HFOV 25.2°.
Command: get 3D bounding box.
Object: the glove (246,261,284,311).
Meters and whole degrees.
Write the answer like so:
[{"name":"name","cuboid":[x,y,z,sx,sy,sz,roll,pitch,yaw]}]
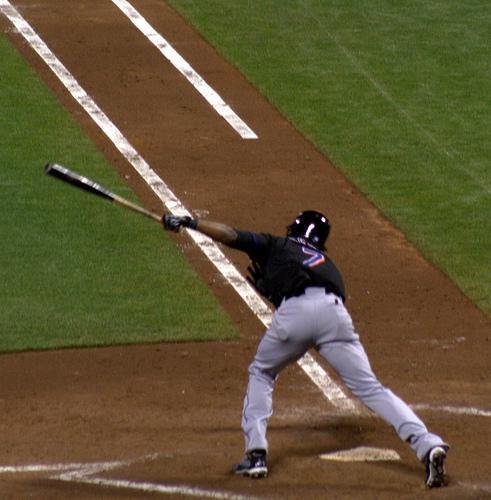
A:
[{"name":"glove","cuboid":[0.175,0.336,9.679,0.076,0.319,0.436,-22,41,-38]}]
